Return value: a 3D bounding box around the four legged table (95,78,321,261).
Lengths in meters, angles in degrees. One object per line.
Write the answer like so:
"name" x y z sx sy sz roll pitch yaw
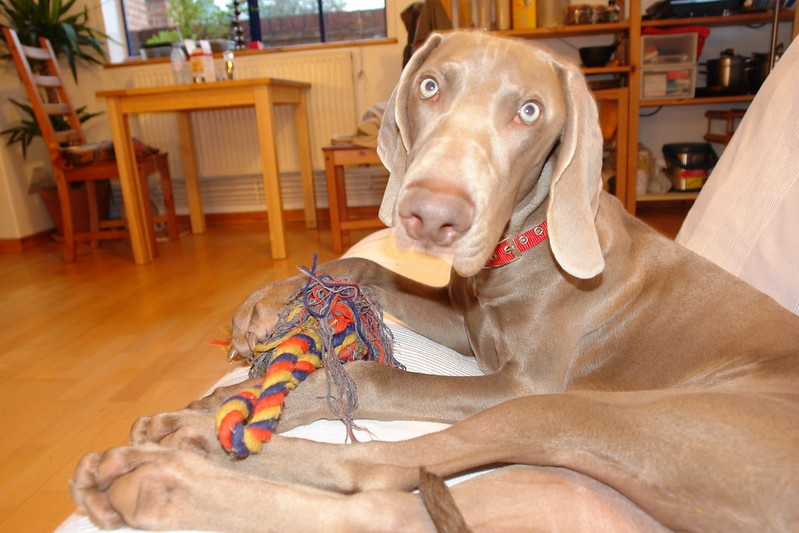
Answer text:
"four legged table" -1.099 -0.621 4.564 1.601 1.451 1.581 -3 19 0

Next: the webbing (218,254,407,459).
"webbing" -0.144 0.183 1.479 0.289 0.173 0.525 -1 47 20
